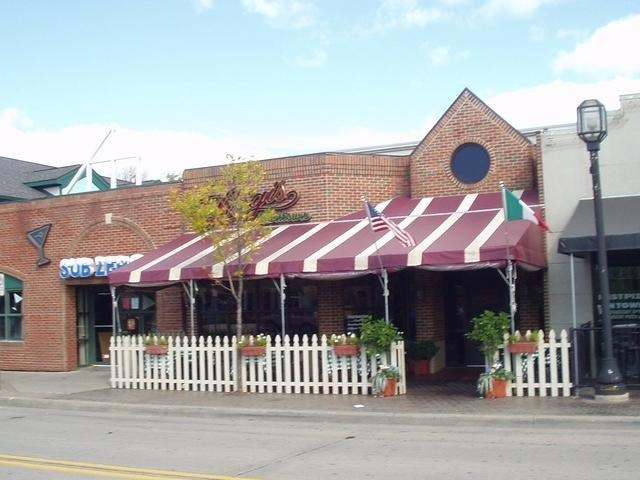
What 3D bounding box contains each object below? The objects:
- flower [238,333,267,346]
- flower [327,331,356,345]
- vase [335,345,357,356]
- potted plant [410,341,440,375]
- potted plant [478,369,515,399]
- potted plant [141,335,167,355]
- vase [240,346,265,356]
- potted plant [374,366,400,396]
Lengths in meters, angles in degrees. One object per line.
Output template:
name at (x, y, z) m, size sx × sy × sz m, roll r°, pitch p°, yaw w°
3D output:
flower at (-1.619, 2.557, 25.189) m, size 0.847 × 0.281 × 0.587 m, roll -1°, pitch 3°, yaw 14°
flower at (0.601, 2.416, 24.292) m, size 0.671 × 0.244 × 0.335 m, roll -2°, pitch 3°, yaw 4°
vase at (0.677, 2.701, 24.156) m, size 0.563 × 0.336 × 0.290 m, roll -1°, pitch 4°, yaw 12°
potted plant at (2.777, 3.294, 27.607) m, size 0.919 × 0.818 × 0.884 m, roll -11°, pitch -13°, yaw 14°
potted plant at (4.093, 3.324, 22.907) m, size 0.921 × 0.563 × 0.748 m, roll 0°, pitch -16°, yaw 6°
potted plant at (-4.254, 2.775, 26.068) m, size 0.697 × 0.322 × 0.575 m, roll -1°, pitch -3°, yaw 8°
vase at (-1.650, 2.786, 24.994) m, size 0.418 × 0.114 × 0.367 m, roll -2°, pitch -3°, yaw 24°
potted plant at (1.599, 3.409, 24.017) m, size 1.082 × 0.737 × 0.711 m, roll 0°, pitch -10°, yaw 4°
